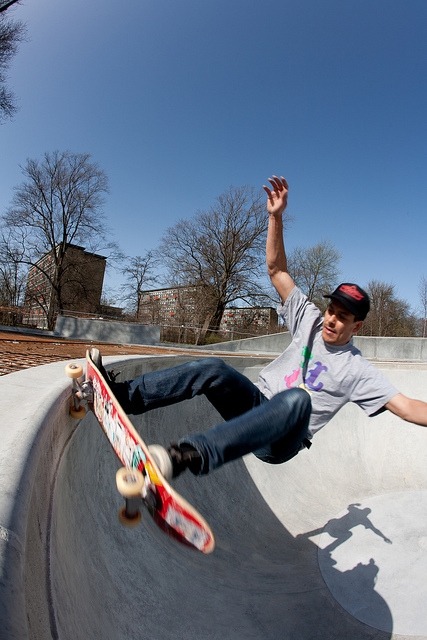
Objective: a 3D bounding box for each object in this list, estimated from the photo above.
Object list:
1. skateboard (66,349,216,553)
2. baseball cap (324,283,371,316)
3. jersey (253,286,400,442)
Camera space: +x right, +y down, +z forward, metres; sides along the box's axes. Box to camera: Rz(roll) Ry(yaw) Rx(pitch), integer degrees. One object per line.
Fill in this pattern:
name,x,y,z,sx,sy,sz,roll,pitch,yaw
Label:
skateboard,-0.392,0.278,1.748,0.229,0.415,1.563,-9,43,-24
baseball cap,0.733,-0.119,2.130,0.236,0.184,0.282,11,2,22
jersey,0.599,0.262,2.169,0.382,0.906,0.871,9,2,-34
